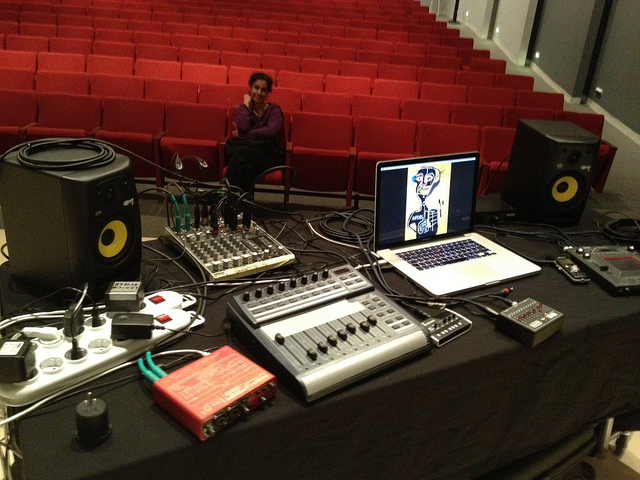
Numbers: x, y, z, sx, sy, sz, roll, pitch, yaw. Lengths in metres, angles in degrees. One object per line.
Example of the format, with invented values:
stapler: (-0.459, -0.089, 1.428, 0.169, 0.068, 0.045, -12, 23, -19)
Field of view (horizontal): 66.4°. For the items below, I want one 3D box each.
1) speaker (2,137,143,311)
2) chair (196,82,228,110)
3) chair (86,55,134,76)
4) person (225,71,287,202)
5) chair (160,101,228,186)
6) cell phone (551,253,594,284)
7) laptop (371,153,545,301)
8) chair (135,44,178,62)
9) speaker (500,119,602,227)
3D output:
speaker: (-0.753, -0.061, 1.474, 0.328, 0.429, 0.356, 17, 33, 33)
chair: (-0.965, -1.296, 4.417, 0.204, 0.319, 0.260, 3, 34, -7)
chair: (-2.137, -1.792, 5.008, 0.473, 0.184, 0.240, 4, 29, 12)
person: (-0.539, -0.854, 3.845, 0.432, 0.772, 0.759, 4, 29, 14)
chair: (-0.995, -0.737, 3.949, 0.556, 0.603, 0.782, -8, 28, -10)
cell phone: (0.880, 0.087, 1.724, 0.067, 0.028, 0.116, -16, 36, -10)
laptop: (0.417, -0.058, 1.765, 0.638, 0.481, 0.477, -12, 31, -28)
chair: (-1.810, -2.082, 5.433, 0.510, 0.183, 0.254, 6, 29, 17)
speaker: (0.994, -0.293, 2.122, 0.291, 0.355, 0.317, 11, 25, 14)
